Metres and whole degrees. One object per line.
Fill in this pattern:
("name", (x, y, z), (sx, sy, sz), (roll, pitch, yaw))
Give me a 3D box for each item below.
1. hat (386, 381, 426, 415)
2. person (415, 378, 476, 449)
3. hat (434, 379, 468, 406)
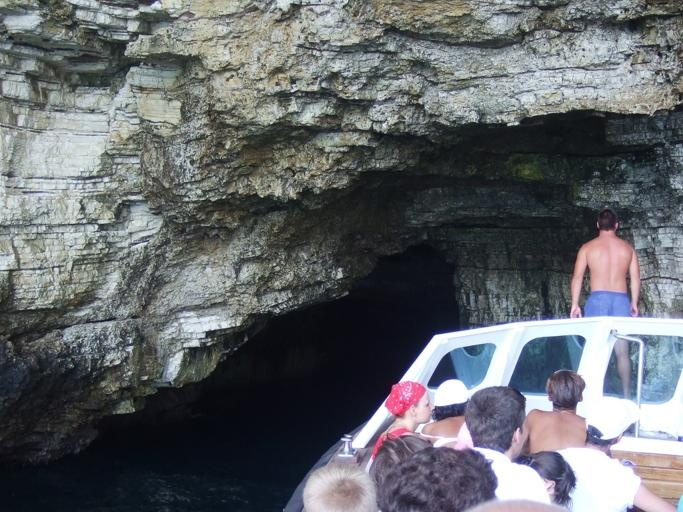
("hat", (0.499, 1.153, 6.845), (0.314, 0.246, 0.095), (-35, -41, 5))
("person", (0.844, 1.301, 6.888), (0.318, 0.894, 0.309), (4, 34, 7))
("hat", (0.934, 1.152, 7.143), (0.190, 0.139, 0.261), (-3, 1, -30))
